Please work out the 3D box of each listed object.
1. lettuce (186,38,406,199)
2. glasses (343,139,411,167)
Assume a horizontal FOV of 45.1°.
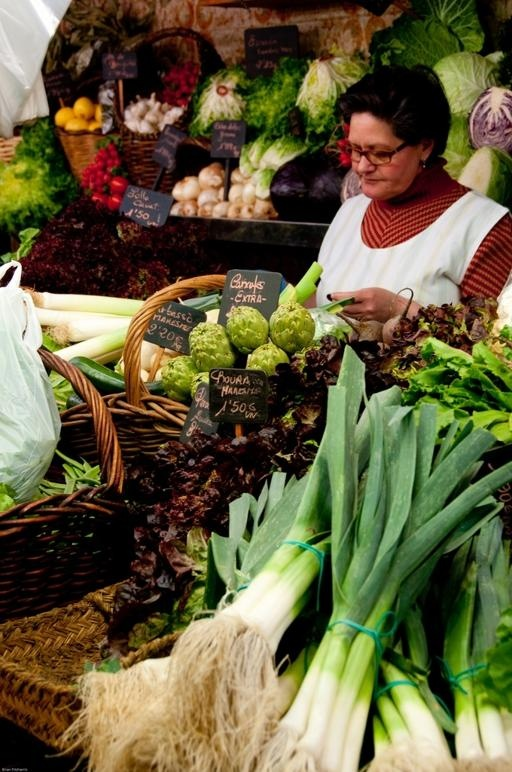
[{"bbox_3d":[0.108,-1.341,3.066,0.788,0.563,0.339,11,25,39],"label":"lettuce"},{"bbox_3d":[0.474,-0.896,2.354,0.220,0.063,0.214,-7,20,-38],"label":"glasses"}]
